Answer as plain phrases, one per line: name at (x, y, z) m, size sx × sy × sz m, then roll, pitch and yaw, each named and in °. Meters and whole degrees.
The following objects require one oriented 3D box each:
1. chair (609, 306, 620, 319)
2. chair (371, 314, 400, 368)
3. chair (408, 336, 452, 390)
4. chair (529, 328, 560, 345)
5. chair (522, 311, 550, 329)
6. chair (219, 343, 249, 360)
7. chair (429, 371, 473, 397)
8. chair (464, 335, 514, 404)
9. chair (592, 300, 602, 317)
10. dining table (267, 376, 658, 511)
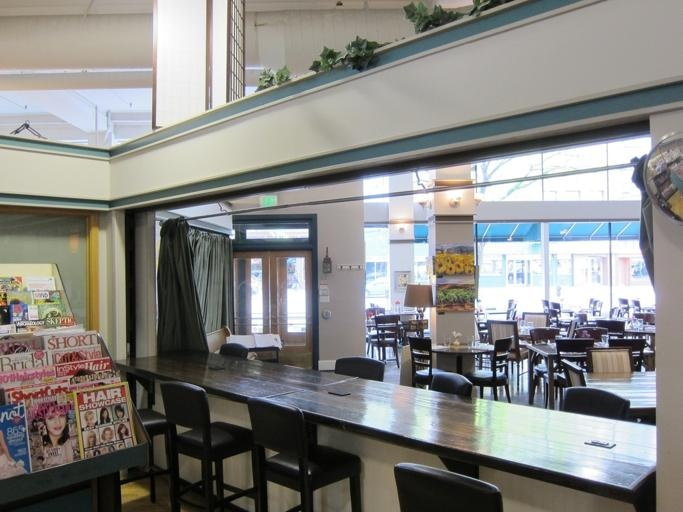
chair at (6.914, 1.428, 13.801) m, size 0.144 × 0.270 × 0.194 m, roll 5°, pitch 11°, yaw -27°
chair at (0.829, 1.591, 10.314) m, size 0.511 × 0.943 × 0.557 m, roll -1°, pitch -9°, yaw -1°
chair at (1.209, 1.490, 7.255) m, size 0.628 × 0.877 × 0.499 m, roll 1°, pitch -3°, yaw -26°
chair at (3.117, 1.176, 8.391) m, size 0.306 × 0.400 × 0.272 m, roll 1°, pitch 6°, yaw 8°
chair at (3.506, 1.142, 9.888) m, size 0.252 × 0.435 × 0.449 m, roll 10°, pitch -10°, yaw -36°
chair at (-1.164, 1.014, 5.889) m, size 0.189 × 0.229 × 0.268 m, roll 4°, pitch 17°, yaw 19°
chair at (0.827, 0.956, 4.100) m, size 0.204 × 0.263 × 0.218 m, roll -7°, pitch -23°, yaw 34°
chair at (1.908, 1.490, 7.124) m, size 0.605 × 0.836 × 0.535 m, roll -4°, pitch -3°, yaw 42°
chair at (6.475, 1.297, 13.885) m, size 0.253 × 0.469 × 1.111 m, roll 1°, pitch -10°, yaw 24°
dining table at (0.806, 1.121, 3.427) m, size 2.023 × 0.420 × 0.843 m, roll -1°, pitch -10°, yaw 30°
